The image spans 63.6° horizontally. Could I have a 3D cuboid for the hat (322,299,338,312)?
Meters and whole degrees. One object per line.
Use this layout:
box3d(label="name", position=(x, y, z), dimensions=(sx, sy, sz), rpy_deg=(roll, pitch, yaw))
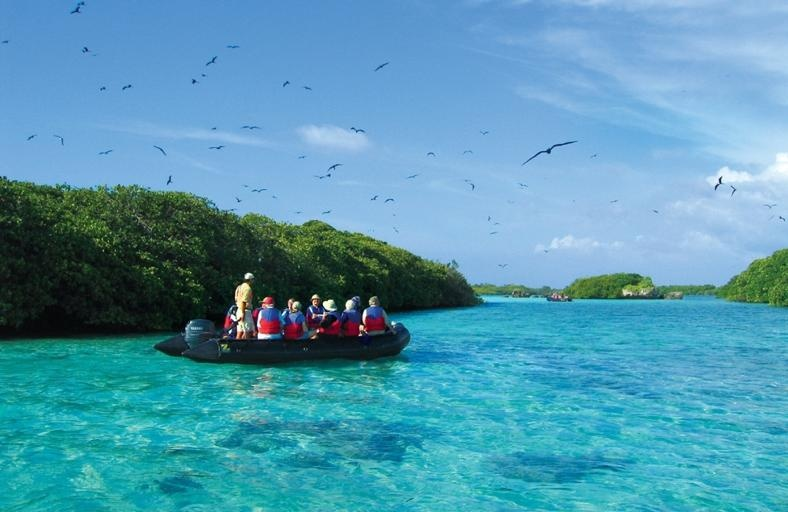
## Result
box3d(label="hat", position=(-2.905, 2.303, 28.275), dimensions=(0.268, 0.561, 0.642), rpy_deg=(-17, -40, 10))

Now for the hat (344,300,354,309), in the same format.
box3d(label="hat", position=(-1.956, 2.118, 28.021), dimensions=(0.393, 0.490, 0.507), rpy_deg=(5, 23, -2))

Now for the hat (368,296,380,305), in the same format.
box3d(label="hat", position=(-0.884, 1.962, 28.348), dimensions=(0.511, 0.520, 0.521), rpy_deg=(-1, -42, 0))
